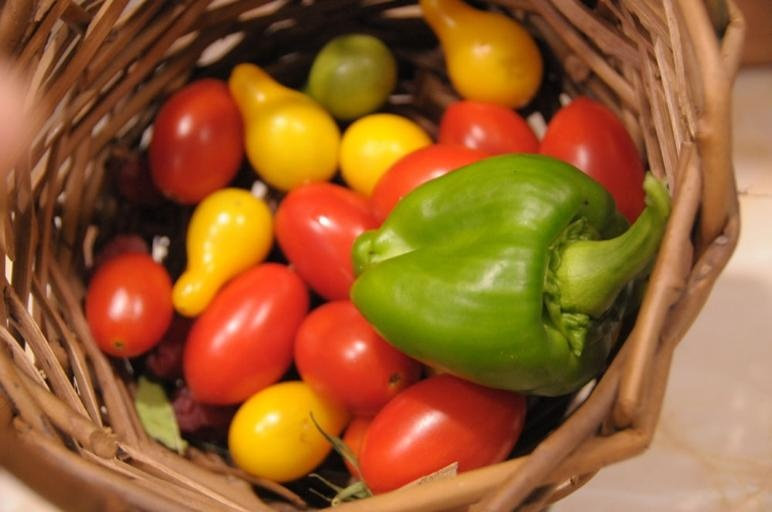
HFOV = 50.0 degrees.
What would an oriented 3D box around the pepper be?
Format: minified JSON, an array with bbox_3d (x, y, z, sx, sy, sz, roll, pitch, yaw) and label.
[{"bbox_3d":[0.132,0.056,0.936,0.295,0.244,0.270,1,72,7],"label":"pepper"}]
